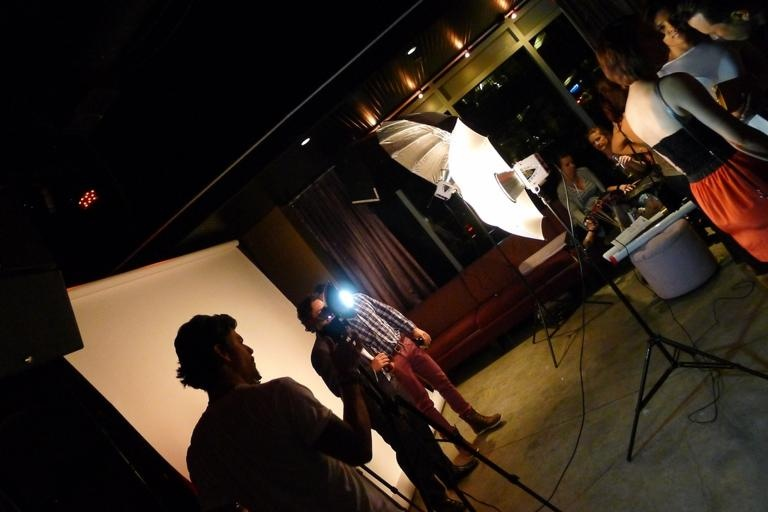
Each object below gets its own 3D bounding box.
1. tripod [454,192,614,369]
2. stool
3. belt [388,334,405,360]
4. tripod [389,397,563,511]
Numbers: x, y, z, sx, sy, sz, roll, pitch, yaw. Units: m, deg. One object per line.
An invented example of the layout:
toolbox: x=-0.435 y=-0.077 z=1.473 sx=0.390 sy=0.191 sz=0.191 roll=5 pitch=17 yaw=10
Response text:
tripod: x=1.802 y=0.333 z=5.731 sx=1.054 sy=1.393 sz=0.878 roll=-46 pitch=-30 yaw=18
stool: x=2.355 y=0.035 z=4.437 sx=0.603 sy=0.632 sz=0.664 roll=-35 pitch=4 yaw=5
belt: x=0.101 y=0.740 z=4.217 sx=0.165 sy=0.040 sz=0.111 roll=-68 pitch=15 yaw=-14
tripod: x=0.545 y=1.110 z=2.975 sx=0.395 sy=0.824 sz=0.523 roll=-35 pitch=-6 yaw=11
